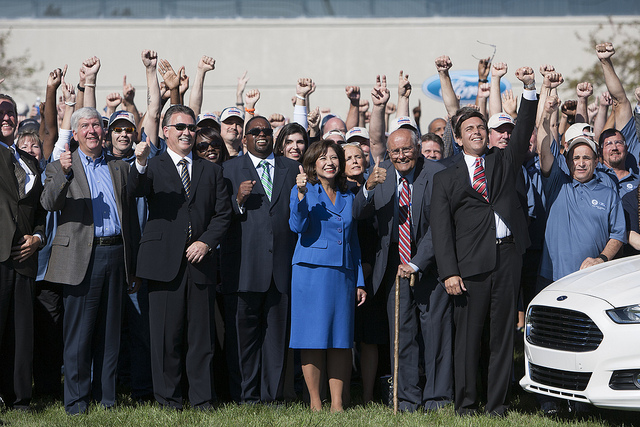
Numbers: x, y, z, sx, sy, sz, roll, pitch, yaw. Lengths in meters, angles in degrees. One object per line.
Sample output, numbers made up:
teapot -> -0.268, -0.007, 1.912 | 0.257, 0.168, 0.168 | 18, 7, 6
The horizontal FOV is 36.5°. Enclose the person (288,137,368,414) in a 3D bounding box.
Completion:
person -> 0.095, 0.836, 13.461 | 1.063, 3.710, 0.734 | 0, 2, -9

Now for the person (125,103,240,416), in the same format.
person -> -1.880, 0.592, 13.399 | 1.427, 4.162, 1.055 | 0, 2, -11

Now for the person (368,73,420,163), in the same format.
person -> 1.085, -1.426, 14.891 | 0.625, 1.745, 0.445 | -12, -32, 15

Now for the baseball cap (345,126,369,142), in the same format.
baseball cap -> 0.554, -1.222, 15.173 | 0.468, 0.240, 0.436 | -1, 2, -17

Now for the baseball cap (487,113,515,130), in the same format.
baseball cap -> 2.607, -1.327, 14.062 | 0.383, 0.219, 0.297 | 0, 2, 11

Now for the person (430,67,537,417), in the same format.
person -> 2.227, 0.374, 13.205 | 1.356, 4.651, 0.714 | 0, 2, 12

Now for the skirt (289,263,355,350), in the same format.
skirt -> 0.026, 1.262, 13.321 | 0.880, 1.149, 0.278 | 0, 2, -3

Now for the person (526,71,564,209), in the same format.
person -> 3.184, -1.058, 14.109 | 0.525, 2.681, 0.352 | -1, 7, -31
